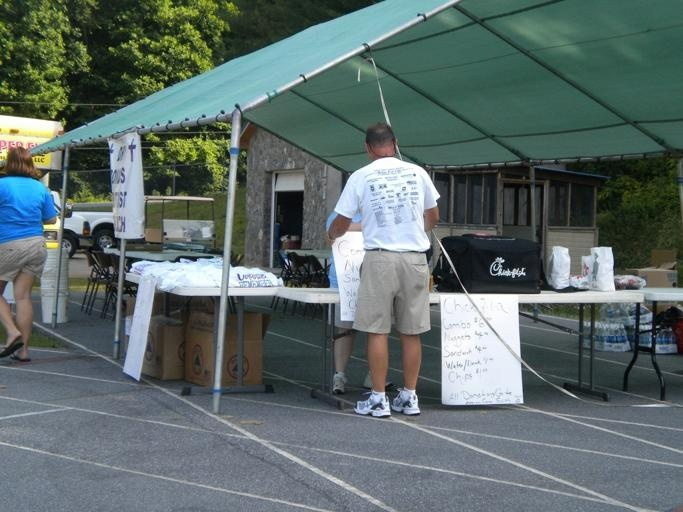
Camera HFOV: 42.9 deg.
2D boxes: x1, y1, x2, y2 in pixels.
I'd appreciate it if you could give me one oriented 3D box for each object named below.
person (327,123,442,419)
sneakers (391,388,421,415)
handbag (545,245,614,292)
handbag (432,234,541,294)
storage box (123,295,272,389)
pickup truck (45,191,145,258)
[{"bbox_3d":[0.363,0.117,7.140,0.834,2.400,0.444,2,7,5],"label":"person"},{"bbox_3d":[0.548,1.213,7.369,0.124,0.160,0.333,1,2,-15],"label":"sneakers"},{"bbox_3d":[2.223,0.128,8.065,0.510,0.378,0.464,1,3,5],"label":"handbag"},{"bbox_3d":[1.370,0.077,7.829,0.766,0.507,0.612,1,-3,-6],"label":"handbag"},{"bbox_3d":[-1.190,0.795,8.003,0.990,0.537,0.992,2,0,-29],"label":"storage box"},{"bbox_3d":[-5.974,-0.981,23.426,2.372,1.110,1.175,-18,15,-37],"label":"pickup truck"}]
